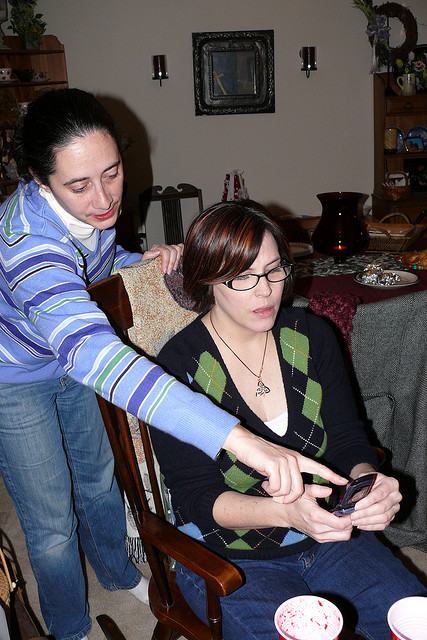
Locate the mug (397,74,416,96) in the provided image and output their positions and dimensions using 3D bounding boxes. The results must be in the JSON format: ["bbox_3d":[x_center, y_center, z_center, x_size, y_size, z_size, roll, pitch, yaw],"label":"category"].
[{"bbox_3d":[1.526,-1.839,3.687,0.095,0.159,0.072,2,17,16],"label":"mug"}]

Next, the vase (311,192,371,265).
[{"bbox_3d":[0.492,-0.344,1.831,0.201,0.274,0.210,4,-1,-21],"label":"vase"}]

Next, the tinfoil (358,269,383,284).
[{"bbox_3d":[0.543,-0.153,1.647,0.059,0.016,0.065,-3,23,6],"label":"tinfoil"}]

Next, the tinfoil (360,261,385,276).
[{"bbox_3d":[0.604,-0.209,1.773,0.072,0.040,0.091,-1,11,28],"label":"tinfoil"}]

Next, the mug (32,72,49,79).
[{"bbox_3d":[-1.361,-1.926,3.711,0.106,0.065,0.122,-6,17,-9],"label":"mug"}]
